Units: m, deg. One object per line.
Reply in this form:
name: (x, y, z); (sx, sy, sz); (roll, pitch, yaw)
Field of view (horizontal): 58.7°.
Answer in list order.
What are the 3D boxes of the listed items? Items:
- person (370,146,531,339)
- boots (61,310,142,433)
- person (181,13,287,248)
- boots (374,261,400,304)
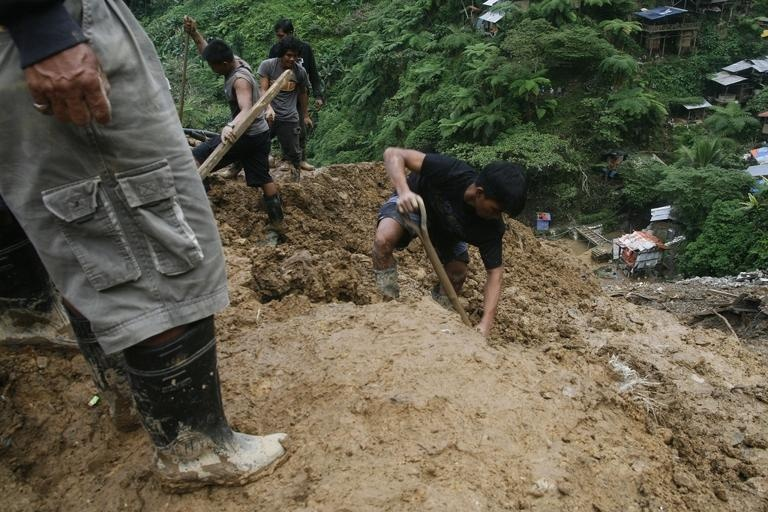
person: (0.592, -0.176, 6.186); (1.337, 1.558, 0.960); (10, 42, 18)
boots: (-1.980, 0.832, 4.824); (0.237, 1.215, 0.249); (-23, 39, -18)
person: (-1.684, -1.304, 7.421); (1.059, 2.331, 1.020); (-13, 26, -34)
boots: (0.041, 0.180, 6.306); (0.241, 0.357, 0.226); (-13, 38, -18)
